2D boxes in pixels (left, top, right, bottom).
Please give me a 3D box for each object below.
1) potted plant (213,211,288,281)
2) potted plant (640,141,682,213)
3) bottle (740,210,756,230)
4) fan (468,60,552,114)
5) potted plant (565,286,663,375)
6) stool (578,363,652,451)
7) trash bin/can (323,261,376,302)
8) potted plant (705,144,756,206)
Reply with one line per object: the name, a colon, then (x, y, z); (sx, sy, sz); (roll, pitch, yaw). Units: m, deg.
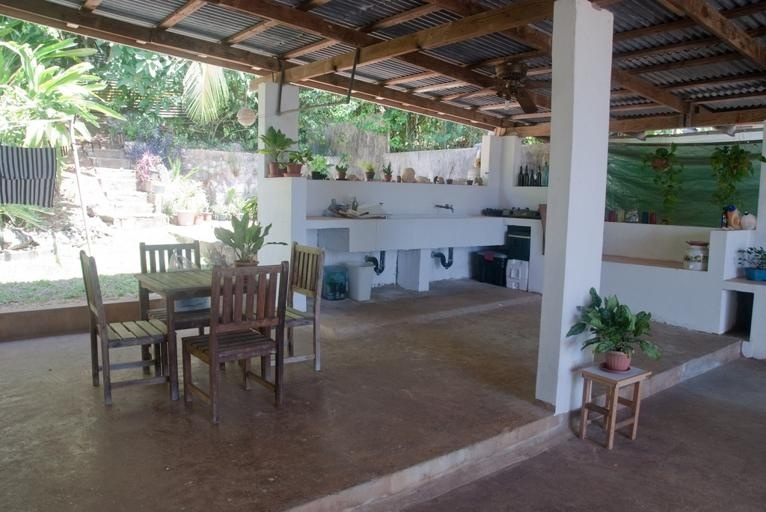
potted plant: (-1.417, -0.098, 5.726); (0.852, 0.566, 0.729); (9, 5, 36)
potted plant: (4.683, -1.284, 8.681); (0.537, 1.357, 2.586); (2, 6, 29)
bottle: (5.104, -0.484, 7.242); (0.184, 0.231, 0.244); (-2, -1, 26)
fan: (1.675, -2.230, 6.890); (1.031, 0.366, 0.967); (-1, 2, -3)
potted plant: (2.172, 0.698, 4.993); (0.894, 0.784, 0.329); (-2, 6, -2)
stool: (2.117, 1.413, 4.937); (0.458, 0.504, 0.438); (7, -4, -9)
trash bin/can: (-0.571, 0.403, 8.480); (0.813, 0.510, 0.562); (-2, 7, -10)
potted plant: (5.798, -1.412, 8.542); (0.631, 1.154, 3.357); (2, 7, 35)
